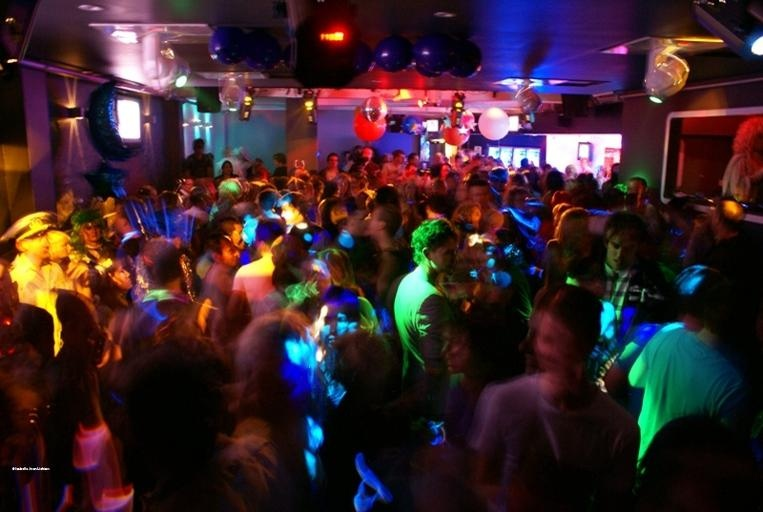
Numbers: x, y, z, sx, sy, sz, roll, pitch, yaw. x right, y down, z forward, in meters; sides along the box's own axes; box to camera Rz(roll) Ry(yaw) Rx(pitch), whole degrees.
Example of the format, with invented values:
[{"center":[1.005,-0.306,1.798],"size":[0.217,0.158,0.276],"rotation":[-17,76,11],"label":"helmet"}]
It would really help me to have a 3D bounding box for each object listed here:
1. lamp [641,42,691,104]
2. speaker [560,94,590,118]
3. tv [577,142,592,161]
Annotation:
[{"center":[2.666,-1.788,5.456],"size":[0.407,0.500,0.538],"rotation":[1,12,18],"label":"lamp"},{"center":[3.512,-2.719,10.023],"size":[0.495,0.482,0.474],"rotation":[0,8,11],"label":"speaker"},{"center":[6.457,-3.356,17.652],"size":[0.376,0.695,0.710],"rotation":[-1,11,0],"label":"tv"}]
